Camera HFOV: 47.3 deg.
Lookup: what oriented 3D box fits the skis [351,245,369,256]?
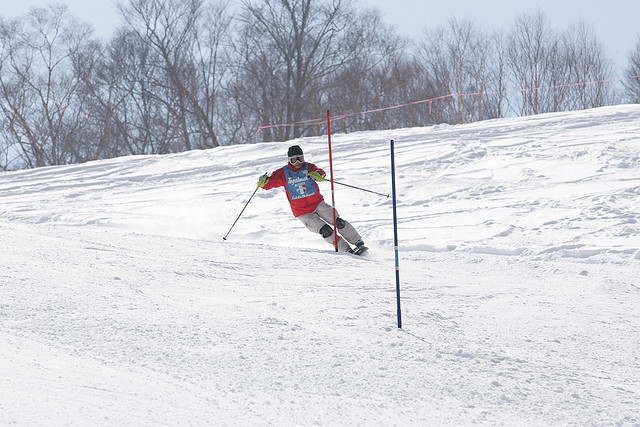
[{"bbox_3d":[0.694,0.691,13.684,0.395,0.160,0.135,-5,-8,35],"label":"skis"}]

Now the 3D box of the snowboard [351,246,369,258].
[{"bbox_3d":[0.718,0.696,13.591,0.390,0.242,0.124,2,15,7],"label":"snowboard"}]
